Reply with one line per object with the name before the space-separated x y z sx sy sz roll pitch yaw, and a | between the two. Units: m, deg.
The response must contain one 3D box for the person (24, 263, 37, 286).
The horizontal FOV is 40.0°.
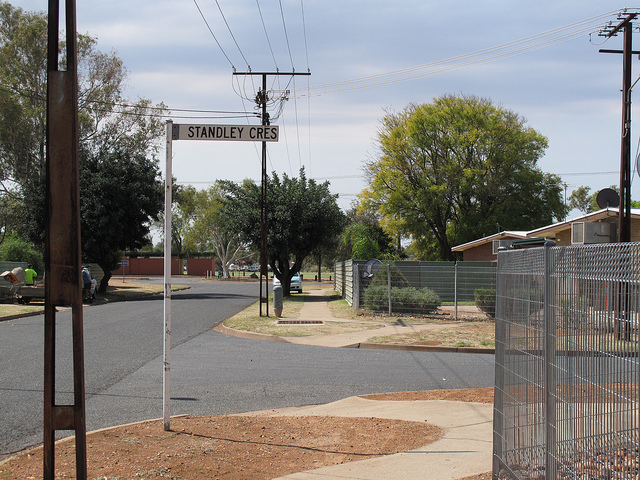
person | -10.974 1.337 33.041 0.376 0.768 1.920 5 -2 -19
